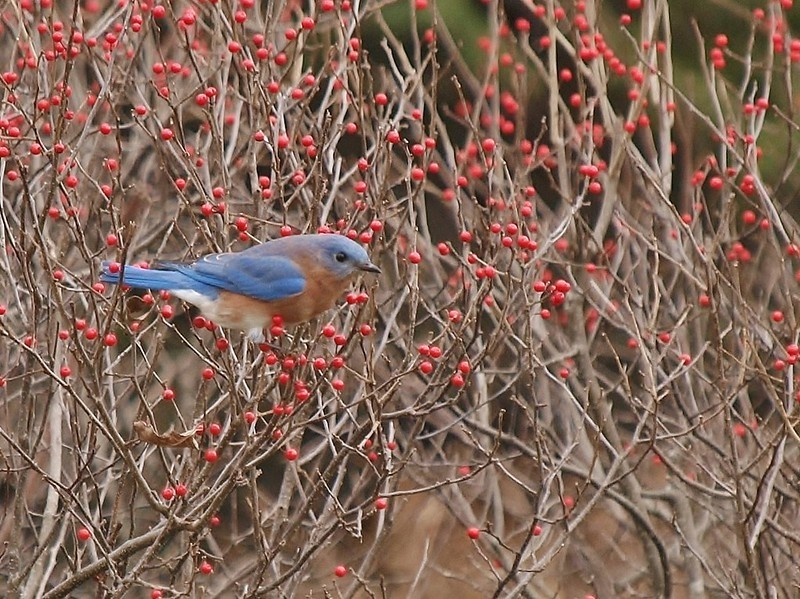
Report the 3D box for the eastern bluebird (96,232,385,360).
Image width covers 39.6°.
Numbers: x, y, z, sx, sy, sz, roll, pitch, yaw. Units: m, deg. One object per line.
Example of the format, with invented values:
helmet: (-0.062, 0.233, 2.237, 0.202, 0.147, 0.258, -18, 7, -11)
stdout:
eastern bluebird: (-1.048, -0.153, 7.577, 1.731, 0.872, 0.636, 11, 14, 8)
